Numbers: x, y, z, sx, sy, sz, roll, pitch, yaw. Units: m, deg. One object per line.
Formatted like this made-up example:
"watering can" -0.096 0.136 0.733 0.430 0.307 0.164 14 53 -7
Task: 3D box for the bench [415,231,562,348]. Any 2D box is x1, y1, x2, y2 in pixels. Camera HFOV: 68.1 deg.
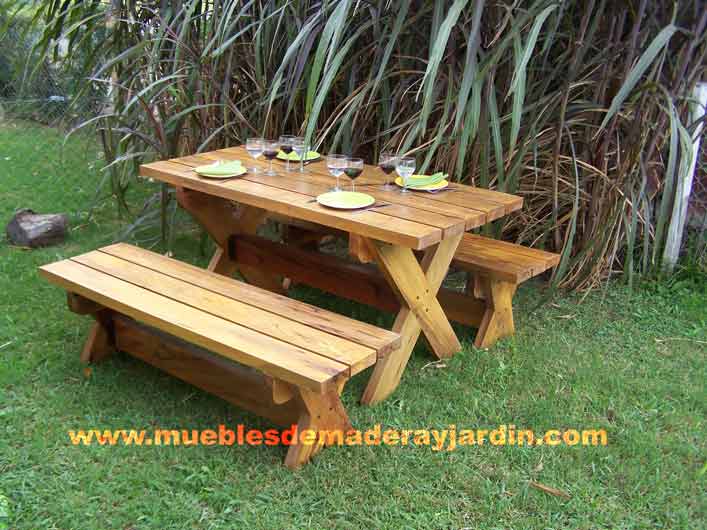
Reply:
"bench" 0.671 0.141 2.928 0.410 0.466 0.726 -7 20 -39
